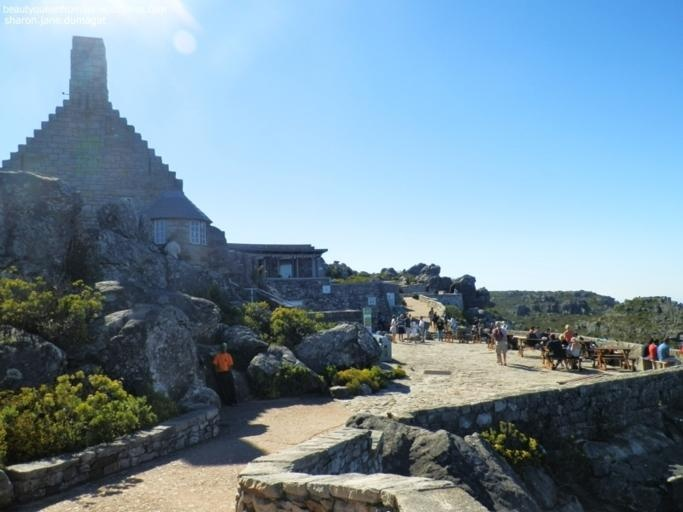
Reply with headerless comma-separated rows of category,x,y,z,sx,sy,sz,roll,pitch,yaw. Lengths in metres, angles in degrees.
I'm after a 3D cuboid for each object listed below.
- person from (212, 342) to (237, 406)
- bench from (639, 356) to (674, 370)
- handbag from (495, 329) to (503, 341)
person,-4.052,4.048,21.347,0.802,2.053,0.671,2,-7,-9
bench,13.449,4.700,26.808,0.551,0.677,1.041,10,-15,-28
handbag,6.878,3.420,27.118,0.218,0.518,0.631,3,-7,-16
